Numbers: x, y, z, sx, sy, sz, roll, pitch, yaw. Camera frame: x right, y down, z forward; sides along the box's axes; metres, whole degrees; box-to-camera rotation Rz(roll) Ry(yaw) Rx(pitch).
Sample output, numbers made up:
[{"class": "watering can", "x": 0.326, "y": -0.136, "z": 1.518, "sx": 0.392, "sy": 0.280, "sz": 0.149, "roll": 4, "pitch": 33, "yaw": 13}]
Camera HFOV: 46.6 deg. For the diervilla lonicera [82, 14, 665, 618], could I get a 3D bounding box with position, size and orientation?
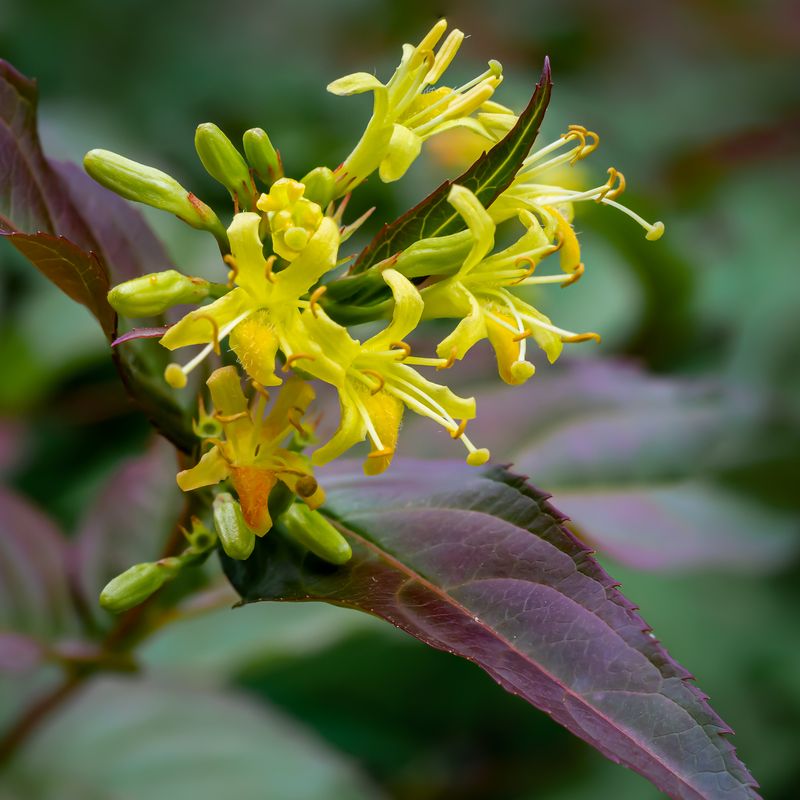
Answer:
[{"class": "diervilla lonicera", "x": -0.115, "y": -0.121, "z": 1.799, "sx": 1.027, "sy": 1.120, "sz": 0.744, "roll": -30, "pitch": 41, "yaw": -35}]
